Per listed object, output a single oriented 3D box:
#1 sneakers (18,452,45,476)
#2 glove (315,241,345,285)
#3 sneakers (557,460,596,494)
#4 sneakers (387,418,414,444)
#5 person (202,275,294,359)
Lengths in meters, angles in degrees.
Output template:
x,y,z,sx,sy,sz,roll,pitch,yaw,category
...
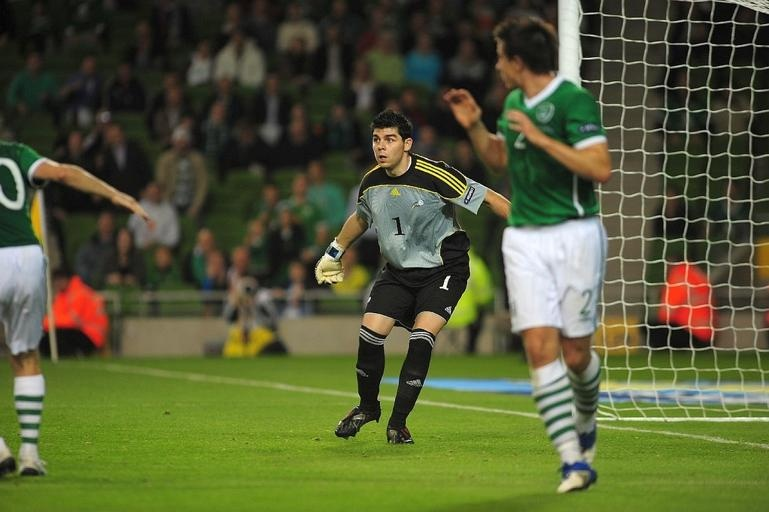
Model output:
x,y,z,sx,sy,sz,roll,pitch,yaw,category
-3.025,1.796,8.718,0.154,0.196,0.205,-1,-9,7,sneakers
-0.601,0.066,10.547,0.296,0.447,0.157,0,24,-30,glove
1.554,1.765,8.188,0.317,0.253,0.201,4,0,2,sneakers
0.141,1.687,9.775,0.286,0.202,0.237,4,0,4,sneakers
-2.424,1.059,17.762,1.331,1.406,0.432,5,0,-9,person
